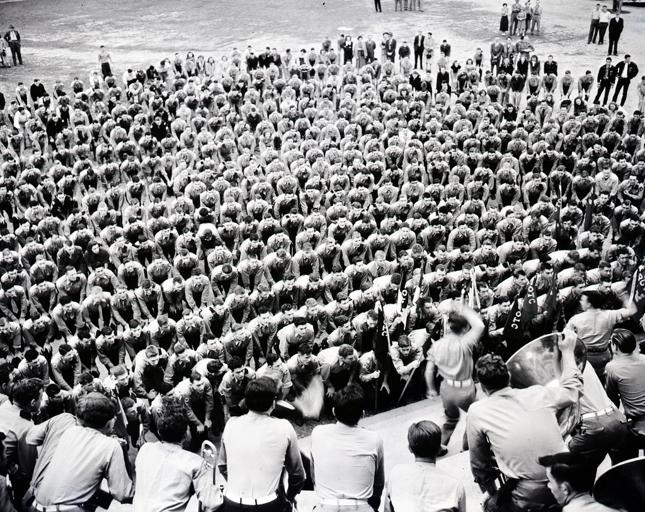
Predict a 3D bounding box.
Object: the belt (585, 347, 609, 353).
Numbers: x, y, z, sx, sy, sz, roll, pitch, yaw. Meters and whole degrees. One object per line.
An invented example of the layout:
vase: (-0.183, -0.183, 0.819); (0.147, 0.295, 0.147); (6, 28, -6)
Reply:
belt: (5.204, 1.779, 18.871); (0.228, 0.064, 0.244); (-3, 5, 7)

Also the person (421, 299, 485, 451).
person: (2.490, 2.318, 18.303); (0.886, 3.018, 0.647); (-8, 23, 2)
